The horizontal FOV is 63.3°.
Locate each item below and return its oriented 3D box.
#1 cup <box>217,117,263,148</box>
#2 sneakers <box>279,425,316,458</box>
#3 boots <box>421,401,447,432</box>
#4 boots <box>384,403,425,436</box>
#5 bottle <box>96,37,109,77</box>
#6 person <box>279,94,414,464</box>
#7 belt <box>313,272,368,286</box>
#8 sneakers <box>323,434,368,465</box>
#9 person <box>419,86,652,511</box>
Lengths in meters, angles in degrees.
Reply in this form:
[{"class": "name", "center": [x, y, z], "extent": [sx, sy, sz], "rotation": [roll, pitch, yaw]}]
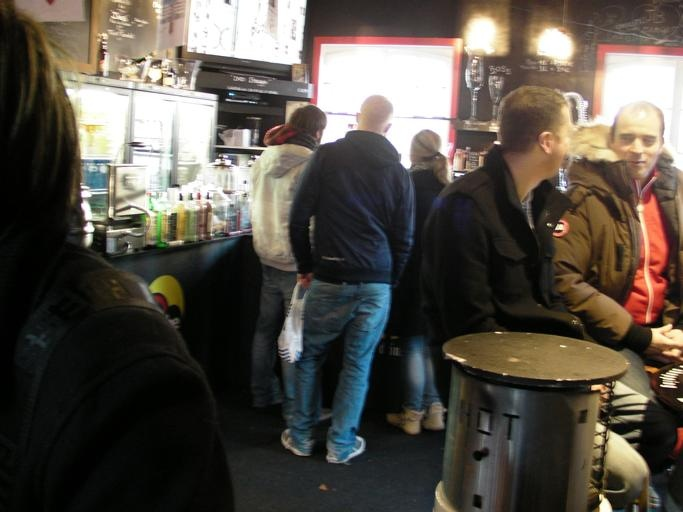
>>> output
[{"class": "cup", "center": [-1.104, -1.327, 6.036], "extent": [0.536, 0.365, 0.461], "rotation": [0, 9, -18]}, {"class": "sneakers", "center": [-0.238, 1.008, 2.994], "extent": [0.101, 0.075, 0.180], "rotation": [6, 0, -40]}, {"class": "boots", "center": [0.562, 0.975, 3.335], "extent": [0.097, 0.115, 0.189], "rotation": [2, 4, 7]}, {"class": "boots", "center": [0.382, 0.953, 3.335], "extent": [0.103, 0.168, 0.276], "rotation": [-5, 14, -39]}, {"class": "bottle", "center": [-1.859, -1.556, 4.301], "extent": [0.117, 0.316, 0.113], "rotation": [13, 25, -6]}, {"class": "person", "center": [0.015, 0.221, 2.831], "extent": [0.613, 1.705, 0.283], "rotation": [6, 9, 6]}, {"class": "belt", "center": [-0.020, 0.114, 2.706], "extent": [0.266, 0.043, 0.051], "rotation": [8, 9, 17]}, {"class": "sneakers", "center": [0.022, 1.026, 2.967], "extent": [0.088, 0.105, 0.250], "rotation": [9, 15, 30]}, {"class": "person", "center": [0.600, 0.043, 1.770], "extent": [0.569, 1.240, 0.803], "rotation": [4, 9, -8]}]
